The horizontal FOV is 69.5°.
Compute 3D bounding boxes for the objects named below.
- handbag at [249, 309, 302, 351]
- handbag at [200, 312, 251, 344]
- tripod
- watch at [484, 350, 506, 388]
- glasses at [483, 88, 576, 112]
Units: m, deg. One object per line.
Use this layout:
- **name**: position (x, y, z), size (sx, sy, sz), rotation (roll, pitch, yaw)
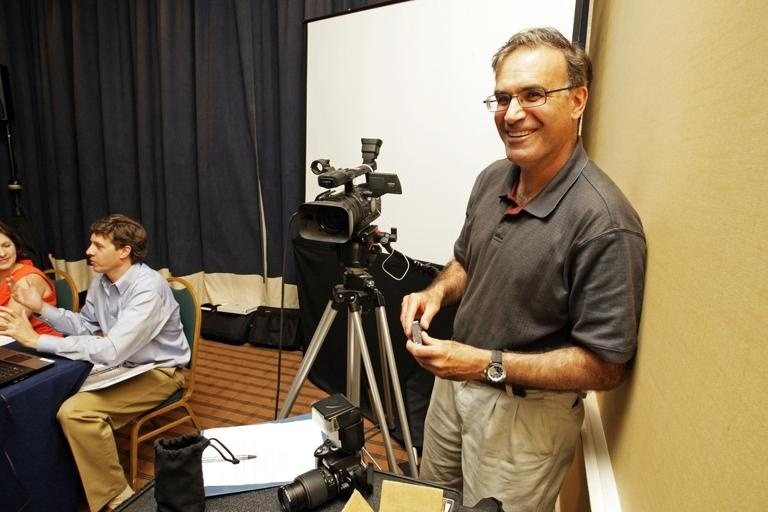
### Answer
- **handbag**: position (-0.834, 0.549, 4.315), size (0.368, 0.299, 0.189), rotation (6, -12, 5)
- **handbag**: position (-1.244, 0.564, 4.399), size (0.431, 0.245, 0.171), rotation (0, 8, 16)
- **tripod**: position (-0.201, 0.537, 2.507), size (0.651, 1.054, 0.683), rotation (4, 6, 11)
- **watch**: position (0.386, 0.401, 1.867), size (0.065, 0.109, 0.100), rotation (-3, -21, 17)
- **glasses**: position (0.500, -0.524, 1.856), size (0.256, 0.071, 0.074), rotation (1, 8, 19)
